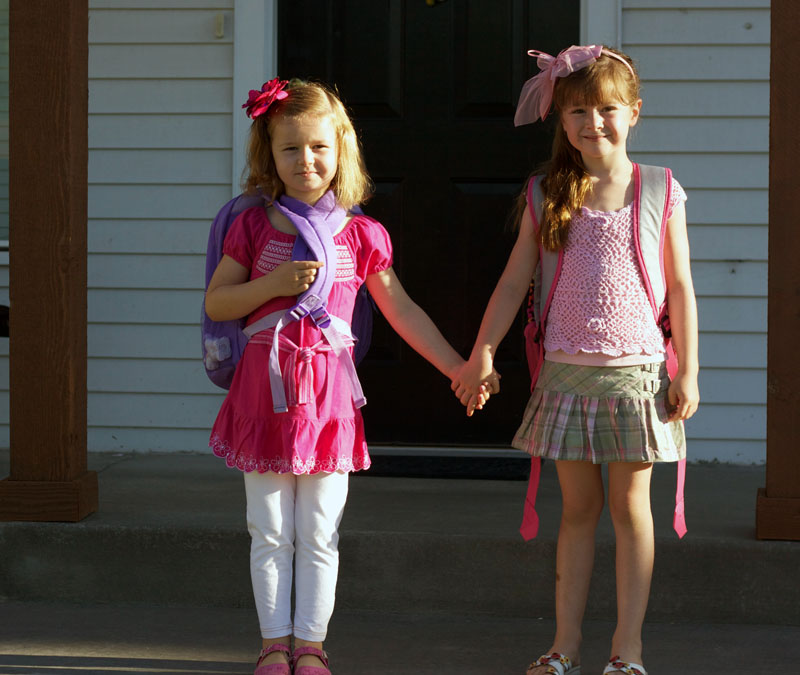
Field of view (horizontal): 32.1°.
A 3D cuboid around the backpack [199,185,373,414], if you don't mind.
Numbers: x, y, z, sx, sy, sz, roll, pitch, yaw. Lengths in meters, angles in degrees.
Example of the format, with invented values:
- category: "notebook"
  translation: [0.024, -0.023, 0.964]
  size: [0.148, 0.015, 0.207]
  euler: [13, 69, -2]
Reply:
- category: "backpack"
  translation: [-0.327, -0.063, 4.678]
  size: [0.547, 0.821, 0.425]
  euler: [7, -28, -11]
